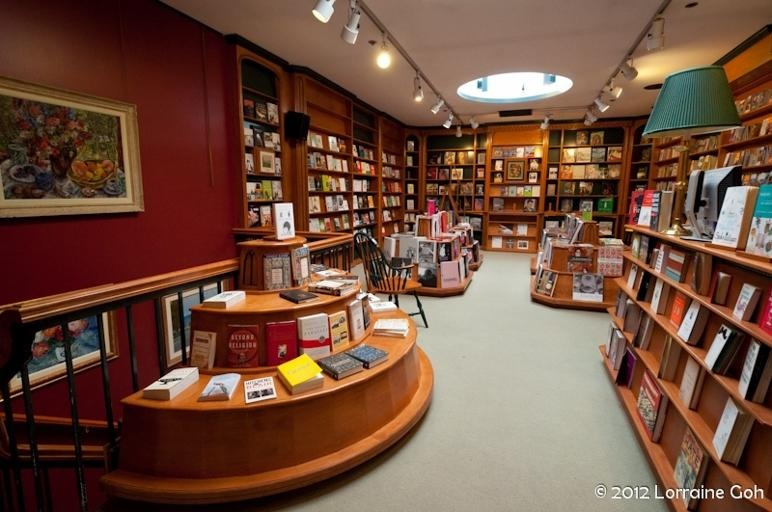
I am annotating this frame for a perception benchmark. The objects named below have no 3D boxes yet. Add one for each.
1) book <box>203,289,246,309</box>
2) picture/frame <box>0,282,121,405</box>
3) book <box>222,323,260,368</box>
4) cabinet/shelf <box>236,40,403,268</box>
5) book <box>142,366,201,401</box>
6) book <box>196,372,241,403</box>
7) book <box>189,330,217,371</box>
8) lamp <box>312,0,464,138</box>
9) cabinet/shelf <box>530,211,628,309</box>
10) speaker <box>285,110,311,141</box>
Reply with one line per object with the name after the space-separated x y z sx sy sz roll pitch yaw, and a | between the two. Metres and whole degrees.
-1.383 0.377 4.136 0.255 0.063 0.262 0 9 15 | book
-2.904 0.772 4.226 0.057 0.972 1.351 -2 3 25 | picture/frame
-1.209 0.730 3.978 0.352 0.450 0.062 0 1 -2 | book
-1.059 -1.646 7.299 0.463 1.818 3.044 1 8 17 | cabinet/shelf
-1.719 1.012 3.795 0.261 0.073 0.272 3 25 9 | book
-1.325 1.048 3.842 0.268 0.131 0.239 0 11 0 | book
-1.528 0.783 4.009 0.225 0.318 0.077 4 11 20 | book
-0.040 -2.835 7.278 0.348 0.476 2.753 30 1 32 | lamp
2.814 -0.436 7.083 1.126 1.048 2.175 2 9 22 | cabinet/shelf
-1.356 -1.963 7.285 0.388 0.554 0.402 9 13 21 | speaker
